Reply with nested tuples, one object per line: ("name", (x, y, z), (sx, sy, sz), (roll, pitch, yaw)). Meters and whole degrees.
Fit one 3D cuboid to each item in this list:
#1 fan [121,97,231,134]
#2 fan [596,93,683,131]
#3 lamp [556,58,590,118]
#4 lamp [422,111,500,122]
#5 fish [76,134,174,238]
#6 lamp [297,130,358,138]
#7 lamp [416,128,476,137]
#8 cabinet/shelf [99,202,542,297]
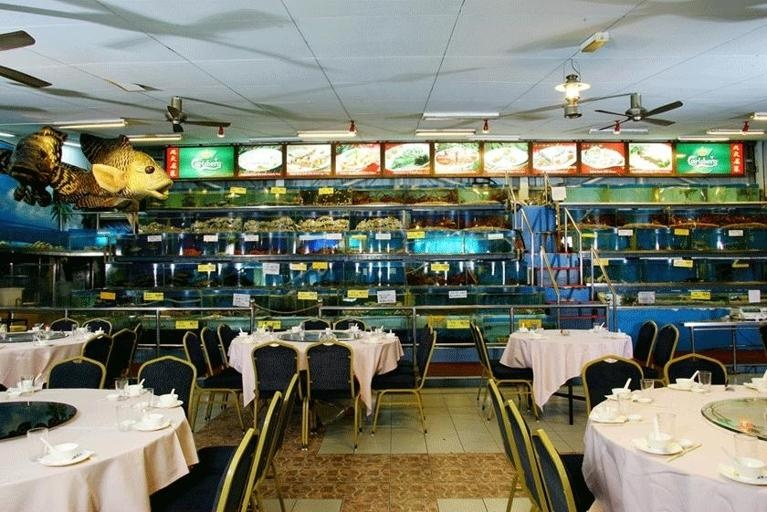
("fan", (-3.604, -2.225, 9.636), (1.407, 0.437, 1.262), (2, 8, 28))
("fan", (4.353, -2.284, 9.666), (1.282, 0.312, 1.161), (4, -5, -33))
("lamp", (2.698, -2.450, 8.635), (0.533, 0.614, 0.455), (2, 22, 21))
("lamp", (1.408, -2.617, 11.098), (1.418, 0.139, 0.330), (0, 11, 4))
("fish", (-4.743, -1.284, 10.387), (3.160, 1.301, 0.663), (6, 3, 31))
("lamp", (-1.125, -2.408, 11.681), (1.469, 0.155, 0.091), (-1, -3, 4))
("lamp", (1.110, -2.377, 11.473), (1.125, 0.139, 0.755), (-1, 10, -5))
("cabinet/shelf", (-1.145, -0.033, 12.751), (9.178, 1.135, 0.992), (1, 0, -1))
